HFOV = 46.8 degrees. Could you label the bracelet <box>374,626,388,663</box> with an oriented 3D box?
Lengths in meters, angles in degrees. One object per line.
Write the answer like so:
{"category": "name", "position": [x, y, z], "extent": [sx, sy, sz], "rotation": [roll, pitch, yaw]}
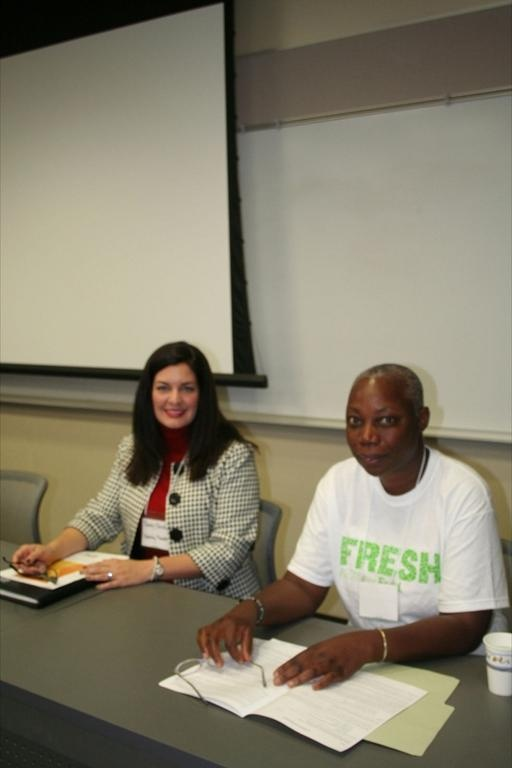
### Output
{"category": "bracelet", "position": [0.200, 0.431, 0.971], "extent": [0.011, 0.035, 0.036], "rotation": [-4, 11, 6]}

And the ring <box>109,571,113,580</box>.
{"category": "ring", "position": [-0.347, 0.457, 1.409], "extent": [0.011, 0.021, 0.012], "rotation": [0, -2, 0]}

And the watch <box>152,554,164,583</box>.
{"category": "watch", "position": [-0.250, 0.479, 1.496], "extent": [0.026, 0.035, 0.046], "rotation": [2, 15, -11]}
